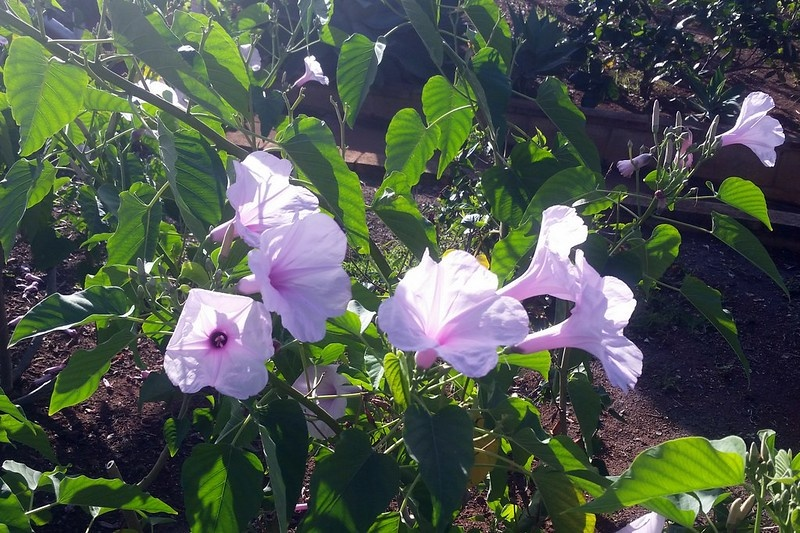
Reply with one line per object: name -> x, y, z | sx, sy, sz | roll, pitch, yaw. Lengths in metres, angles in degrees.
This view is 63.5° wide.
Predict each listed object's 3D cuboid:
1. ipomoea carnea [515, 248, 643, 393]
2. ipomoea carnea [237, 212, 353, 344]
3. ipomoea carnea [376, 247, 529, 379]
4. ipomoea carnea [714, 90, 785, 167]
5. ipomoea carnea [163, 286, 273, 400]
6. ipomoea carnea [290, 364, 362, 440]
ipomoea carnea -> 0.624, 0.161, 2.160 | 0.382, 0.411, 0.296 | 13, 27, 32
ipomoea carnea -> -0.316, 0.033, 2.059 | 0.303, 0.362, 0.217 | -4, 23, -5
ipomoea carnea -> 0.167, 0.134, 1.988 | 0.444, 0.301, 0.266 | 1, 23, 7
ipomoea carnea -> 1.709, -0.643, 3.123 | 0.242, 0.387, 0.472 | 11, 26, 29
ipomoea carnea -> -0.574, 0.262, 2.152 | 0.332, 0.378, 0.148 | -2, 2, -2
ipomoea carnea -> -0.327, 0.519, 2.741 | 0.299, 0.338, 0.131 | 19, 63, -2
